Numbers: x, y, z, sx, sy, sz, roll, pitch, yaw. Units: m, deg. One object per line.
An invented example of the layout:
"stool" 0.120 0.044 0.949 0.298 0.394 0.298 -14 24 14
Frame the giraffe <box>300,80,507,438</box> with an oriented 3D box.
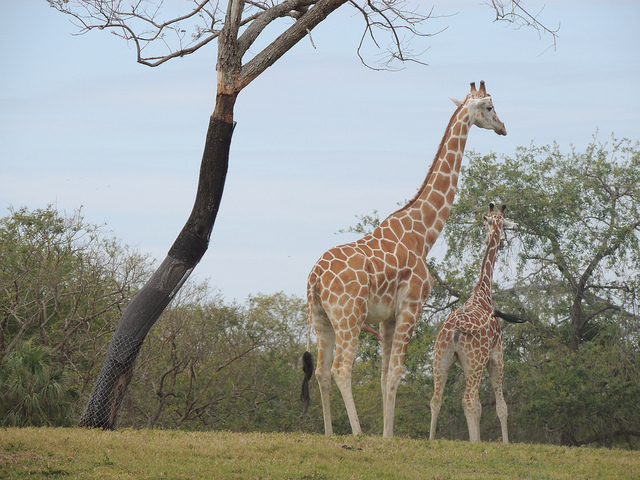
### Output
"giraffe" 1.891 0.708 32.738 5.235 9.543 1.915 -1 6 -40
